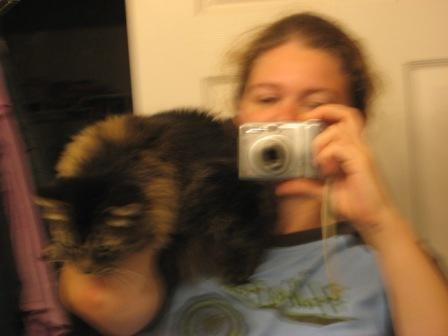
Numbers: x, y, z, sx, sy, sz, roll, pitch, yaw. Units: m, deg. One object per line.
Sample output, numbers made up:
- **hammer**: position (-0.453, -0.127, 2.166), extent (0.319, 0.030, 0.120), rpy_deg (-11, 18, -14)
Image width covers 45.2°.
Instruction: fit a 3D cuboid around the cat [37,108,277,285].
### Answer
- **cat**: position (-0.174, 0.046, 1.676), extent (0.568, 0.415, 0.751), rpy_deg (14, 26, 29)
